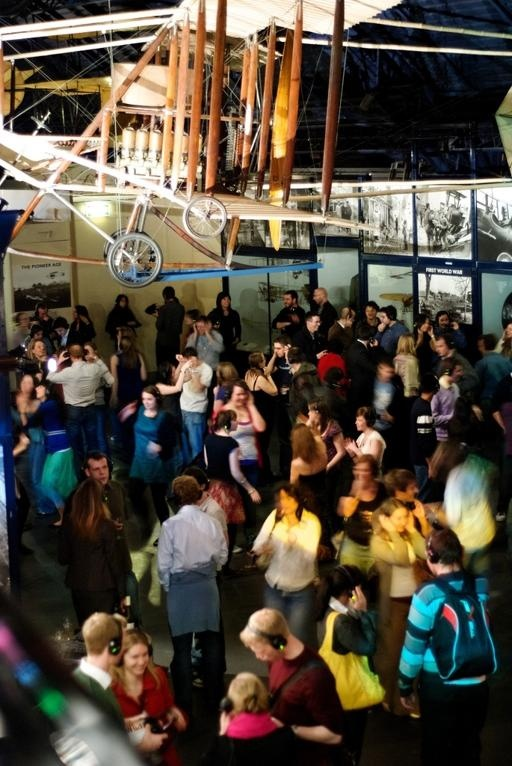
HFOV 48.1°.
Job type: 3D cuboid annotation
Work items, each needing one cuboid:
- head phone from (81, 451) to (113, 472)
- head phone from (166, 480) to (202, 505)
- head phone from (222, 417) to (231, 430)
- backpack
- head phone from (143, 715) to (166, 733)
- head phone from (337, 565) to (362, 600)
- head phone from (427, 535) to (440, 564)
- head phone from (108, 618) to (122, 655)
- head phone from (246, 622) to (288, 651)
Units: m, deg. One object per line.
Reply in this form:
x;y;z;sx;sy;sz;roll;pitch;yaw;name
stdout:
-1.470;0.720;5.308;0.214;0.173;0.180;-4;8;-30;head phone
-0.542;0.806;4.299;0.168;0.217;0.214;0;15;1;head phone
-0.286;0.412;5.675;0.065;0.107;0.107;2;7;5;head phone
1.125;1.347;3.131;0.342;0.557;0.189;-1;7;-13;backpack
-0.550;1.852;3.105;0.082;0.153;0.045;-4;40;11;head phone
0.548;1.175;3.413;0.088;0.177;0.135;-10;9;-7;head phone
0.990;0.951;3.237;0.038;0.110;0.079;-4;-3;10;head phone
-0.721;1.294;2.912;0.055;0.169;0.132;5;-25;-3;head phone
0.061;1.321;3.010;0.140;0.043;0.115;19;-6;37;head phone
